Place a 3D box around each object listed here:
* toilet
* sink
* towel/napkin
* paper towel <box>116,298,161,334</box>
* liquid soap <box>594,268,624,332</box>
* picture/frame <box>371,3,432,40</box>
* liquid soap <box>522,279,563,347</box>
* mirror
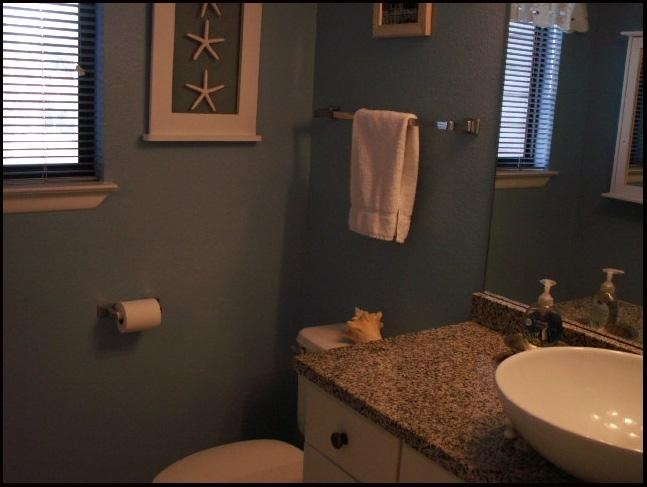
[{"bbox_3d":[-0.313,0.518,2.074,0.770,0.791,0.474,-1,6,-30],"label":"toilet"},{"bbox_3d":[0.608,0.365,1.128,0.277,0.113,0.279,-3,11,-12],"label":"sink"},{"bbox_3d":[0.209,-0.259,1.881,0.093,0.461,0.286,-11,18,-38],"label":"towel/napkin"},{"bbox_3d":[-0.707,0.265,1.963,0.171,0.113,0.142,-6,15,-23],"label":"paper towel"},{"bbox_3d":[0.811,0.157,1.453,0.063,0.182,0.030,10,17,35],"label":"liquid soap"},{"bbox_3d":[0.279,-0.811,1.831,0.045,0.138,0.261,-10,17,-36],"label":"picture/frame"},{"bbox_3d":[0.661,0.201,1.516,0.104,0.166,0.150,8,16,27],"label":"liquid soap"},{"bbox_3d":[0.740,-0.218,1.485,0.115,0.907,0.479,-11,18,-39],"label":"mirror"}]
